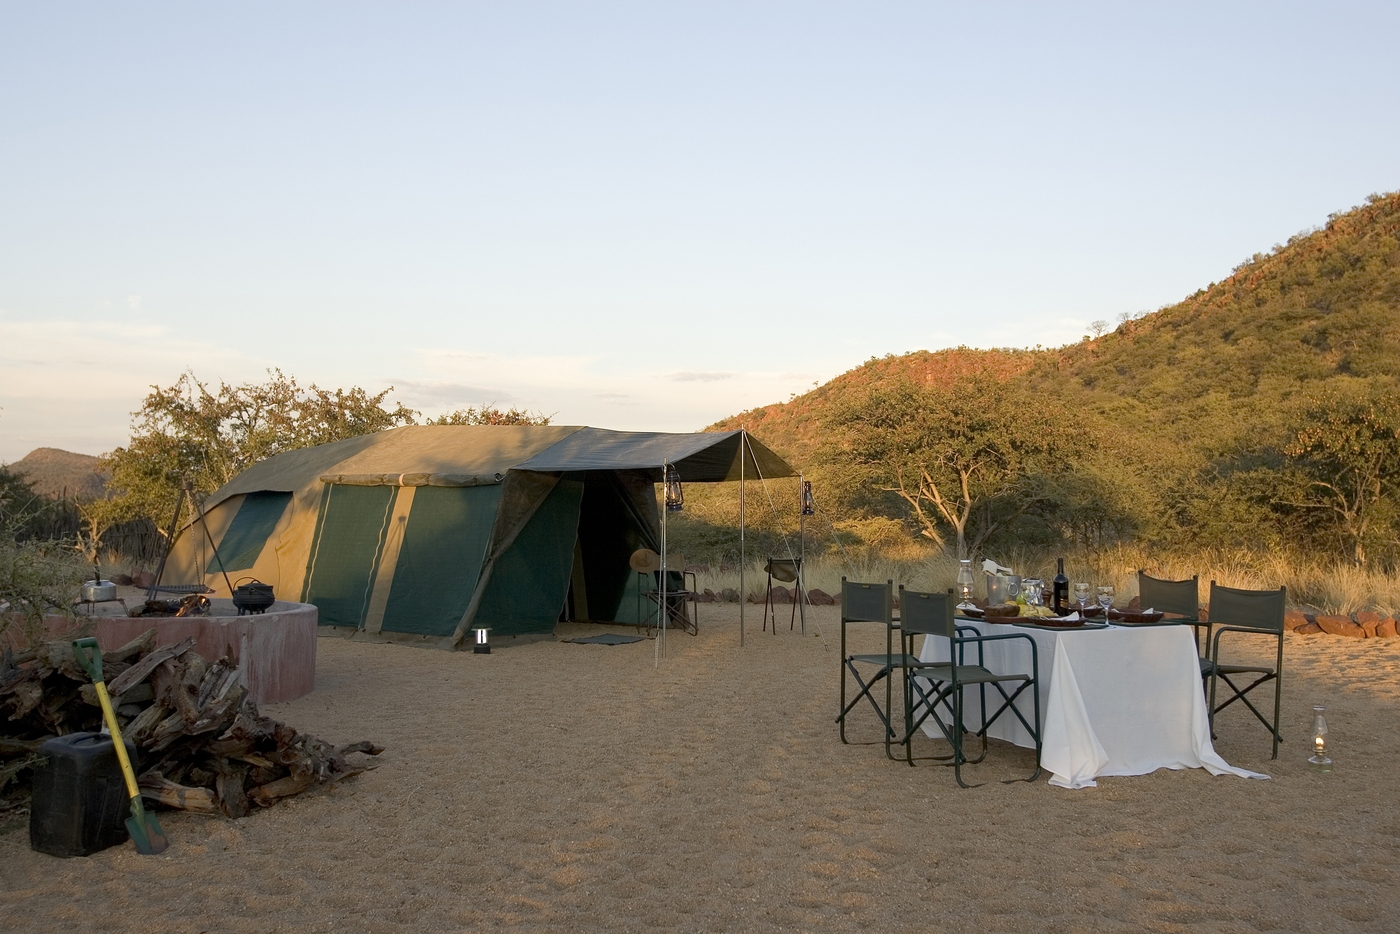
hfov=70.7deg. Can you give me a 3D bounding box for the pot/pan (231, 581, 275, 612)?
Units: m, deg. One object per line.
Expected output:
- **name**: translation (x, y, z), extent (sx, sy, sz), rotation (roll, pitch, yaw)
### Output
- **pot/pan**: translation (-4.002, 1.193, 8.877), extent (0.328, 0.220, 0.308), rotation (5, -11, -41)

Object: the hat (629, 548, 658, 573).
- **hat**: translation (-0.706, 1.209, 12.603), extent (0.318, 0.280, 0.287), rotation (0, 6, -1)

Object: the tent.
- **tent**: translation (-3.574, 0.858, 13.055), extent (6.362, 2.486, 2.385), rotation (3, 7, 26)

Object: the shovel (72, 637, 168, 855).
- **shovel**: translation (-3.545, 1.753, 6.013), extent (0.282, 1.478, 0.249), rotation (-14, 7, -3)
